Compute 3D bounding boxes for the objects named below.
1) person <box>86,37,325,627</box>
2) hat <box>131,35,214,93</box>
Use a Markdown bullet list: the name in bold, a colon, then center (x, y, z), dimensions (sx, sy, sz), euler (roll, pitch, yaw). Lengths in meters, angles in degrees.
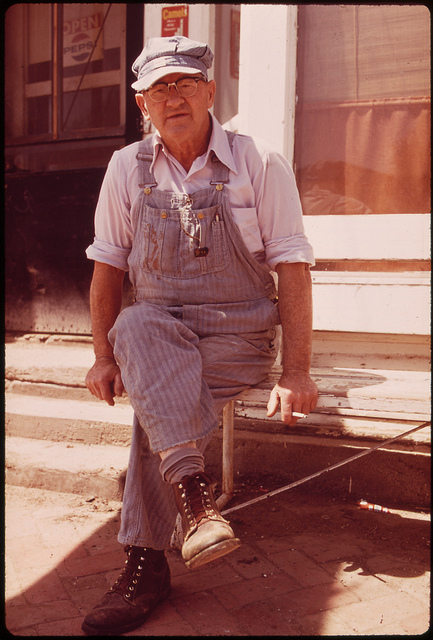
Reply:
- **person**: center (-0.089, -0.050, 2.796), dimensions (1.036, 2.096, 1.556), euler (0, 12, 8)
- **hat**: center (-0.209, -1.032, 2.786), dimensions (0.325, 0.193, 0.398), euler (-10, 14, 13)
